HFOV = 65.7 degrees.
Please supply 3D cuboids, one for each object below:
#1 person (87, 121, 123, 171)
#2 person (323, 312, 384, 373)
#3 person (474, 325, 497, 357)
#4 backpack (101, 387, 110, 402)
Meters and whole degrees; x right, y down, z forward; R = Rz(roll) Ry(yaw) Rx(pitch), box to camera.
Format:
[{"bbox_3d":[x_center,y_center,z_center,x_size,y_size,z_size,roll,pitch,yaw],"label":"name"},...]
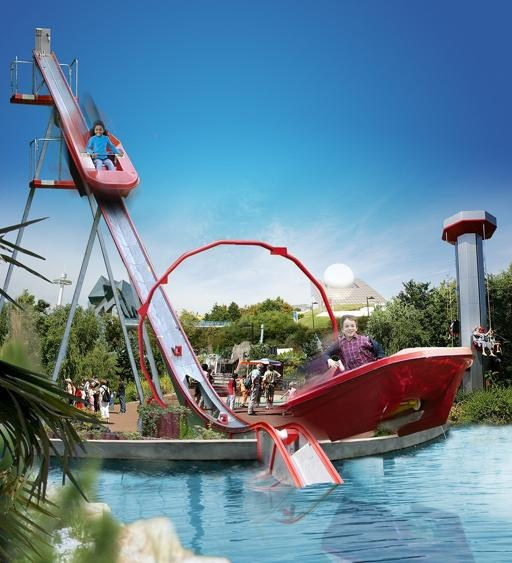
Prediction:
[{"bbox_3d":[-6.939,-5.917,17.799,0.753,2.283,1.429,-11,-12,37],"label":"person"},{"bbox_3d":[2.522,1.661,10.431,1.487,1.633,0.869,-10,11,10],"label":"person"},{"bbox_3d":[12.328,3.162,21.158,1.074,1.478,0.624,-7,-10,19],"label":"person"},{"bbox_3d":[-6.688,4.965,17.428,0.332,0.698,0.302,1,-11,-25],"label":"backpack"}]
